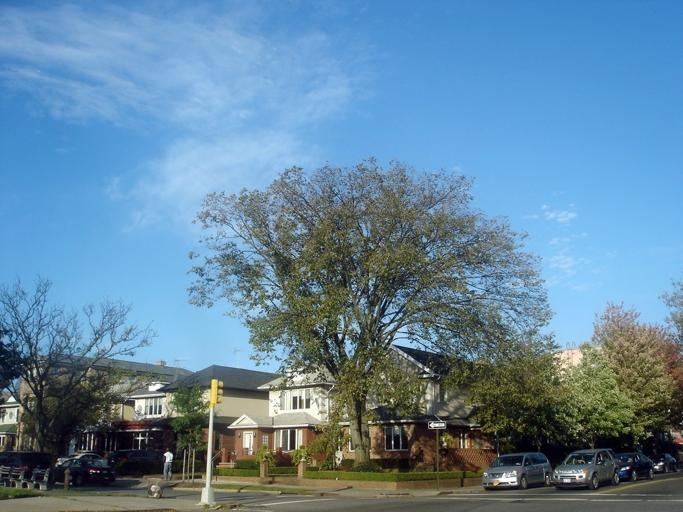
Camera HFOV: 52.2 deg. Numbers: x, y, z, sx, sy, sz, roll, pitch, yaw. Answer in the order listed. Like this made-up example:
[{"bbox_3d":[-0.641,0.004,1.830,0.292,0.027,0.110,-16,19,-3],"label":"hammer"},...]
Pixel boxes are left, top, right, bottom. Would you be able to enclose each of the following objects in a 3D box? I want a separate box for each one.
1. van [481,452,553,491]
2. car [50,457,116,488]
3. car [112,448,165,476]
[{"bbox_3d":[11.604,14.117,45.927,4.680,2.233,2.055,13,-26,-38],"label":"van"},{"bbox_3d":[-18.576,16.363,51.715,6.191,2.600,3.002,-7,-16,29],"label":"car"},{"bbox_3d":[-18.737,18.837,63.861,4.425,2.552,2.955,3,-21,-17],"label":"car"}]
